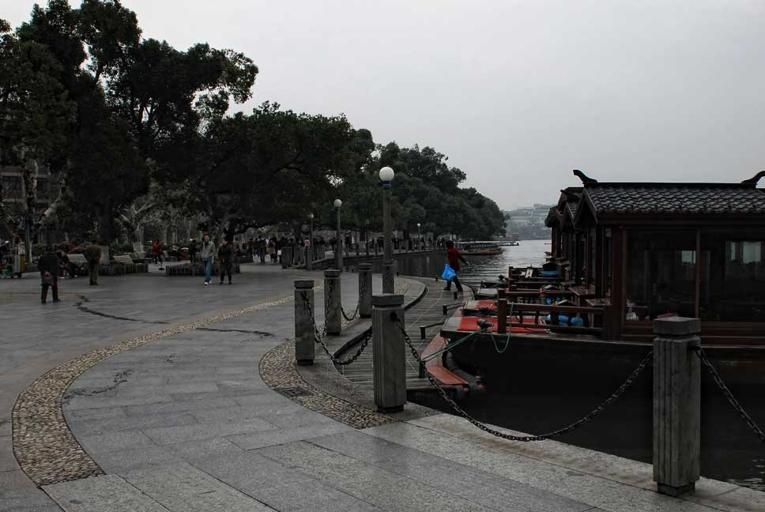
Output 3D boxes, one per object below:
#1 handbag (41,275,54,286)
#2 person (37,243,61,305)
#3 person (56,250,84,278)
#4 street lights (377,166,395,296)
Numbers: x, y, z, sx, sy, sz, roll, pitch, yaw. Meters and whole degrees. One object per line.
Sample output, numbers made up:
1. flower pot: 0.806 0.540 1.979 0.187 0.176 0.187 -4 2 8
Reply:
1. handbag: -10.450 0.756 21.627 0.286 0.281 0.286 -7 -3 21
2. person: -10.616 0.583 22.174 0.602 1.765 0.496 2 5 -28
3. person: -15.055 0.371 33.818 1.107 0.406 1.498 7 11 -30
4. street lights: 0.118 -0.706 17.432 0.543 3.180 0.528 -4 11 -16
